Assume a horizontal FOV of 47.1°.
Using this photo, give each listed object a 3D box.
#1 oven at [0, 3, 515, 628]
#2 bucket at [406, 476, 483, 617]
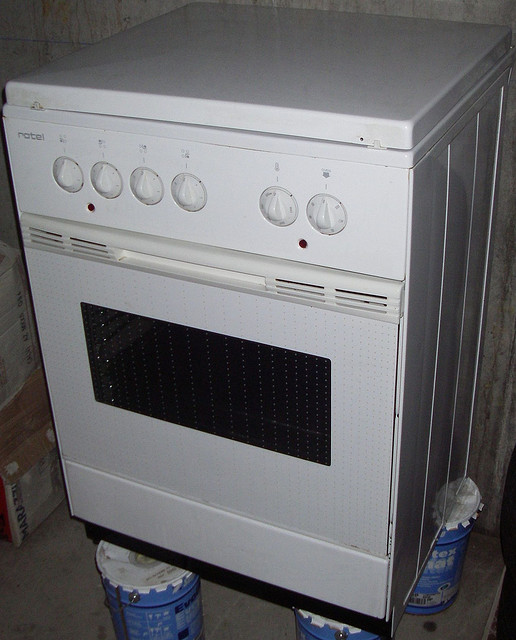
[{"bbox_3d":[0.019,-0.018,1.187,0.762,1.048,0.733,14,25,34],"label":"oven"},{"bbox_3d":[0.452,0.584,1.579,0.198,0.331,0.273,6,21,20],"label":"bucket"}]
